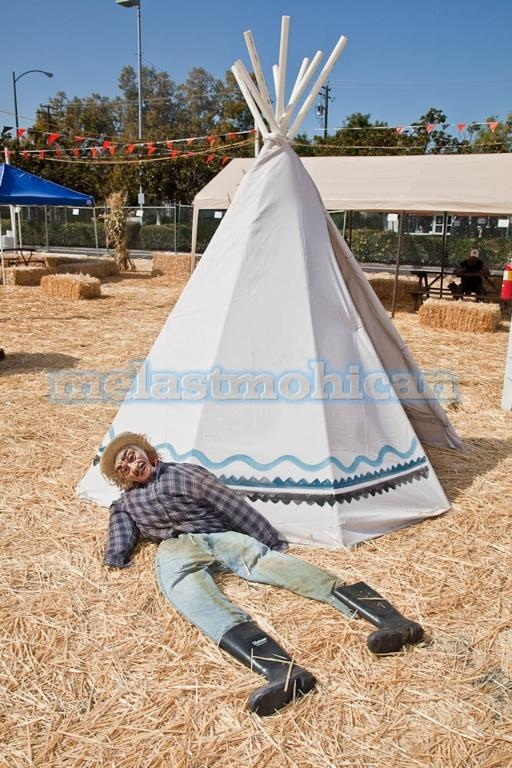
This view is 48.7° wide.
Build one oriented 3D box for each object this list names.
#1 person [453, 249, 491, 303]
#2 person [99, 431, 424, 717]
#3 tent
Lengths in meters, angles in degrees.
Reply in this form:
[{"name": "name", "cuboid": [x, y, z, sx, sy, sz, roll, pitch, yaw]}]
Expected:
[{"name": "person", "cuboid": [4.397, -2.099, 11.543, 0.692, 1.285, 0.631, 7, -4, -39]}, {"name": "person", "cuboid": [-0.130, 0.732, 2.376, 0.624, 0.378, 1.284, -21, 33, -33]}, {"name": "tent", "cuboid": [0.268, -0.319, 3.528, 1.668, 1.923, 1.984, -1, -25, 8]}]
